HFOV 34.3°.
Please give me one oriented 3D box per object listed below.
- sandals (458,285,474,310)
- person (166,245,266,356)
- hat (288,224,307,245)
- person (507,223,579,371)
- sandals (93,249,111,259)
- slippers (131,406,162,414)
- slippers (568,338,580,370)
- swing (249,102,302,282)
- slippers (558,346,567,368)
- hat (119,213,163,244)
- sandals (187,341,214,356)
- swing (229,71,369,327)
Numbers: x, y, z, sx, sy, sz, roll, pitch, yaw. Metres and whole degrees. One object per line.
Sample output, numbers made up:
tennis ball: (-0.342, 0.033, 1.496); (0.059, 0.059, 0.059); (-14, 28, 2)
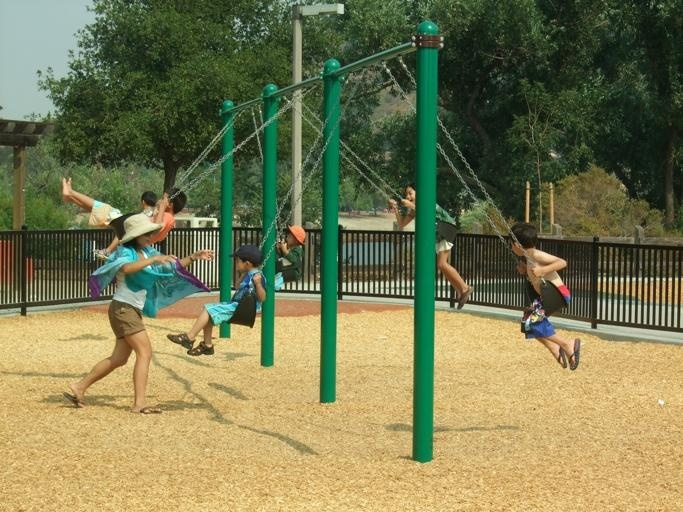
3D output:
sandals: (2.555, 0.869, 22.867); (0.196, 0.582, 0.199); (15, -3, -7)
person: (-2.053, 0.863, 19.134); (1.316, 2.208, 1.170); (3, 6, -19)
hat: (-0.765, -0.367, 19.938); (0.136, 0.329, 0.345); (-29, 8, 2)
person: (3.334, 0.676, 18.329); (0.906, 2.543, 0.916); (-6, -2, 33)
sandals: (-4.678, -0.011, 21.845); (0.143, 0.132, 0.343); (-22, 5, -12)
slippers: (-3.116, 2.507, 17.895); (0.350, 0.095, 0.177); (0, 3, -3)
slippers: (3.850, 1.693, 18.239); (0.138, 0.585, 0.221); (2, 9, 3)
swing: (-1.103, -0.996, 20.226); (0.695, 3.492, 0.592); (7, 7, 15)
slippers: (3.633, 1.697, 18.286); (0.114, 0.345, 0.087); (-7, -10, -10)
hat: (-3.229, -0.430, 17.881); (0.510, 0.280, 0.491); (-20, -2, -16)
sandals: (-2.393, 1.595, 18.725); (0.527, 0.280, 0.201); (2, -4, -4)
swing: (-0.614, -1.132, 18.883); (1.392, 4.998, 1.282); (4, 6, -24)
